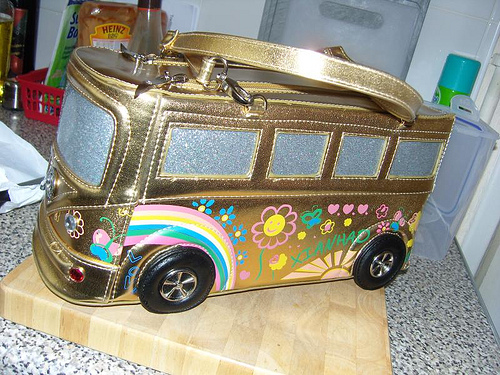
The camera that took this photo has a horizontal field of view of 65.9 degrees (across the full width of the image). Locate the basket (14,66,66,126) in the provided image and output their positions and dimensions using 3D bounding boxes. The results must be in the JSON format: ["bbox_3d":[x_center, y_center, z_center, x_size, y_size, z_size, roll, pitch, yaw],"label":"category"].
[{"bbox_3d":[-0.560,-0.233,1.005,0.120,0.083,0.163,7,1,-22],"label":"basket"}]

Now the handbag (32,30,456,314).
[{"bbox_3d":[0.008,-0.043,0.605,0.552,0.373,0.255,-1,26,-17],"label":"handbag"}]
